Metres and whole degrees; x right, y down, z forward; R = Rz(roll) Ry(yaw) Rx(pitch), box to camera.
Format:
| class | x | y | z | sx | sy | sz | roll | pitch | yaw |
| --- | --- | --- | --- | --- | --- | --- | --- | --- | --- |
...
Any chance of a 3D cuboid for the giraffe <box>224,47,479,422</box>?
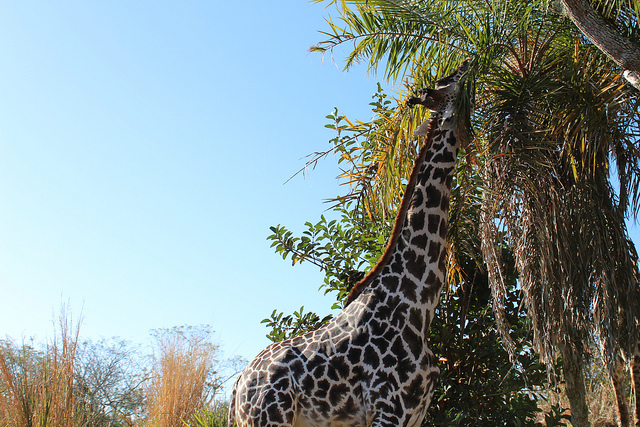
| class | x | y | z | sx | sy | sz | roll | pitch | yaw |
| --- | --- | --- | --- | --- | --- | --- | --- | --- | --- |
| giraffe | 0.579 | 0.278 | 6.475 | 2.387 | 3.600 | 0.905 | -9 | -29 | 22 |
